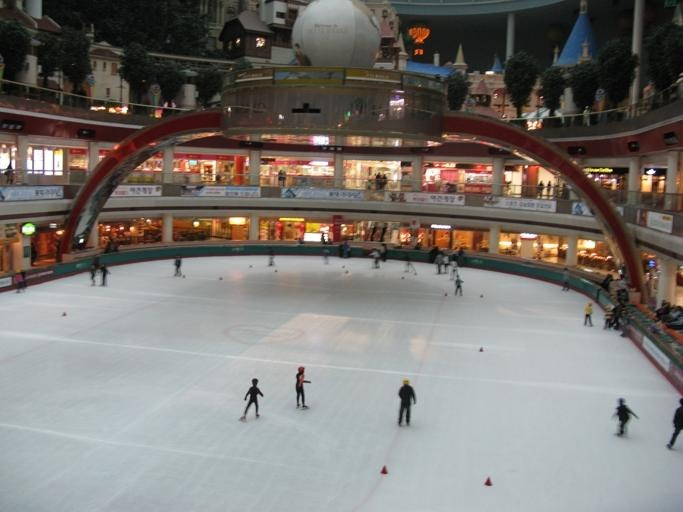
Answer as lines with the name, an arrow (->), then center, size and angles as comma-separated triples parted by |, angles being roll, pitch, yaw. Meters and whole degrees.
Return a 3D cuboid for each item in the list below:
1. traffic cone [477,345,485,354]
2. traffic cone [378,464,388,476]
traffic cone -> 7.038, 4.633, 29.868 | 0.248, 0.363, 0.754 | -1, -2, 6
traffic cone -> 1.414, 6.933, 19.482 | 0.216, 0.205, 0.217 | -1, 3, -17
